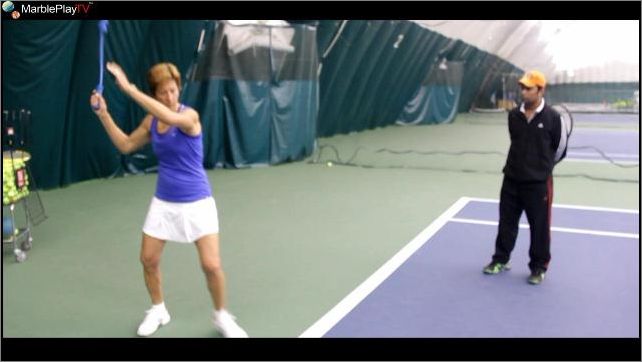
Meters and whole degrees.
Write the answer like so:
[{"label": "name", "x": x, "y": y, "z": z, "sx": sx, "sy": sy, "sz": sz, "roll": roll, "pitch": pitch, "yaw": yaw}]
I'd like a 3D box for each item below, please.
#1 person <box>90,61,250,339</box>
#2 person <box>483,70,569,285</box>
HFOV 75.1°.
[{"label": "person", "x": -1.449, "y": 0.127, "z": 4.532, "sx": 1.430, "sy": 3.006, "sz": 1.113, "roll": 1, "pitch": 3, "yaw": 22}, {"label": "person", "x": 2.568, "y": -0.054, "z": 5.456, "sx": 1.036, "sy": 2.471, "sz": 0.849, "roll": -2, "pitch": 4, "yaw": -34}]
